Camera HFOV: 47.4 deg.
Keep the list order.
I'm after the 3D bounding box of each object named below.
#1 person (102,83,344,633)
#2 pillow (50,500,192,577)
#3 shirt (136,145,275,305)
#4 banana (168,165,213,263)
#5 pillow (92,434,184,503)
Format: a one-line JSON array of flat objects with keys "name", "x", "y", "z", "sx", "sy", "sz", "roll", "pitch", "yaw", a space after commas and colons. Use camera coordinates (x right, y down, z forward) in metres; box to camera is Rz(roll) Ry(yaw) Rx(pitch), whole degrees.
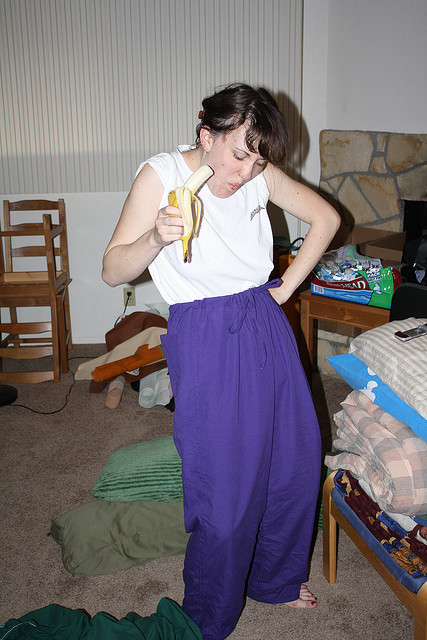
[{"name": "person", "x": 0.077, "y": 0.225, "z": 1.117, "sx": 0.581, "sy": 1.372, "sz": 0.351, "roll": -15, "pitch": 17, "yaw": -40}, {"name": "pillow", "x": -0.322, "y": 0.734, "z": 1.687, "sx": 0.414, "sy": 0.142, "sz": 0.328, "roll": -5, "pitch": 17, "yaw": -22}, {"name": "shirt", "x": -0.011, "y": -0.178, "z": 0.913, "sx": 0.219, "sy": 0.298, "sz": 0.154, "roll": -23, "pitch": 28, "yaw": -35}, {"name": "banana", "x": -0.034, "y": -0.172, "z": 0.824, "sx": 0.073, "sy": 0.171, "sz": 0.178, "roll": -3, "pitch": 14, "yaw": 1}, {"name": "pillow", "x": -0.302, "y": 0.599, "z": 1.987, "sx": 0.339, "sy": 0.089, "sz": 0.403, "roll": -4, "pitch": 15, "yaw": -4}]
